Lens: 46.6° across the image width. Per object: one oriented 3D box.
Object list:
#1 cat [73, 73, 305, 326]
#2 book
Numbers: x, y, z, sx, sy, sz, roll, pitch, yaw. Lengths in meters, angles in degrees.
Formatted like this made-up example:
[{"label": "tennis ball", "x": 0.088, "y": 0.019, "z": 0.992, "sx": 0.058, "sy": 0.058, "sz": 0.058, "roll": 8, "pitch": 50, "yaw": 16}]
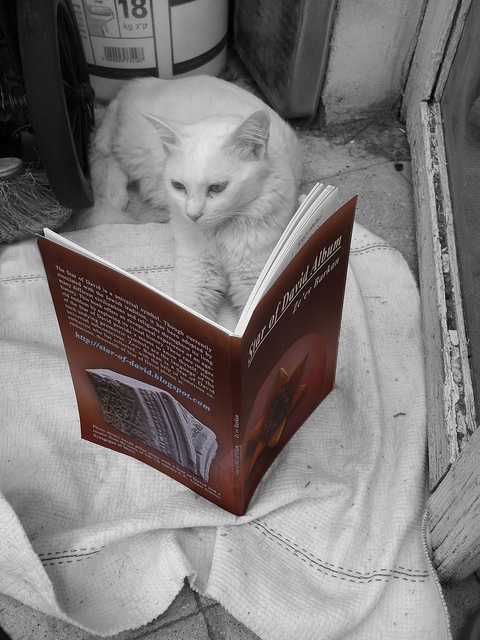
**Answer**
[{"label": "cat", "x": -0.113, "y": -0.399, "z": 1.256, "sx": 0.472, "sy": 0.385, "sz": 0.690, "roll": 3, "pitch": 72, "yaw": -3}, {"label": "book", "x": -0.053, "y": 0.011, "z": 0.846, "sx": 0.357, "sy": 0.474, "sz": 0.320, "roll": 25, "pitch": 53, "yaw": 12}]
